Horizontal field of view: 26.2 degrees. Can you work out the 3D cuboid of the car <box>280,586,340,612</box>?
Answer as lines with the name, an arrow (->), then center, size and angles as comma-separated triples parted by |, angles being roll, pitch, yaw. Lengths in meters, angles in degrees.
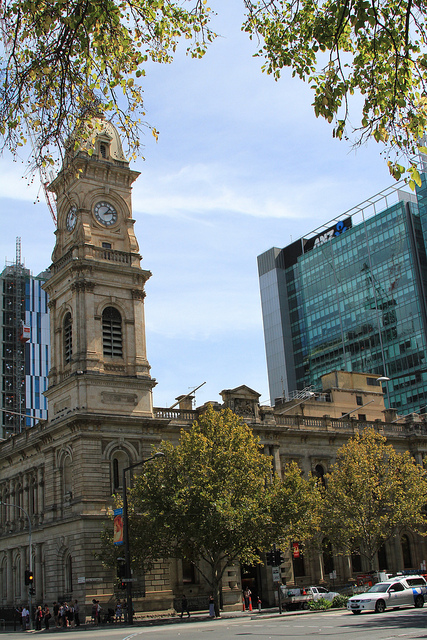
car -> 5.289, 14.381, 48.183 | 2.975, 0.922, 1.553 | -3, -14, -32

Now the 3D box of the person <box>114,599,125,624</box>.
person -> -4.524, 13.948, 44.413 | 0.496, 1.044, 1.604 | -5, -18, -7

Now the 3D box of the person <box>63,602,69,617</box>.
person -> -7.262, 14.289, 45.641 | 0.251, 0.694, 0.554 | -4, -19, -11

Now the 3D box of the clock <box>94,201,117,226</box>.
clock -> -6.619, -6.476, 56.098 | 0.123, 1.545, 1.626 | -39, -4, 35

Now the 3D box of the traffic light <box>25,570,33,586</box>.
traffic light -> -9.381, 13.036, 46.858 | 0.286, 0.625, 0.738 | -5, -18, -8

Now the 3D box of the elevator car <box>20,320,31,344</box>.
elevator car -> -24.475, 1.564, 119.631 | 1.501, 3.640, 1.173 | 15, -46, -22

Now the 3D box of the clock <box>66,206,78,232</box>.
clock -> -8.567, -6.138, 55.982 | 0.073, 1.654, 1.852 | 5, 4, -26

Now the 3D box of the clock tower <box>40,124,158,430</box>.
clock tower -> -7.055, -3.309, 54.495 | 5.681, 19.029, 4.508 | -6, -20, -5

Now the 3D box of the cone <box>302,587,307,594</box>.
cone -> 4.731, 14.141, 48.169 | 0.223, 0.235, 0.468 | -6, -17, -2

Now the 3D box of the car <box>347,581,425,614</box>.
car -> 7.340, 11.764, 39.338 | 3.194, 0.880, 1.315 | 10, -29, -26
